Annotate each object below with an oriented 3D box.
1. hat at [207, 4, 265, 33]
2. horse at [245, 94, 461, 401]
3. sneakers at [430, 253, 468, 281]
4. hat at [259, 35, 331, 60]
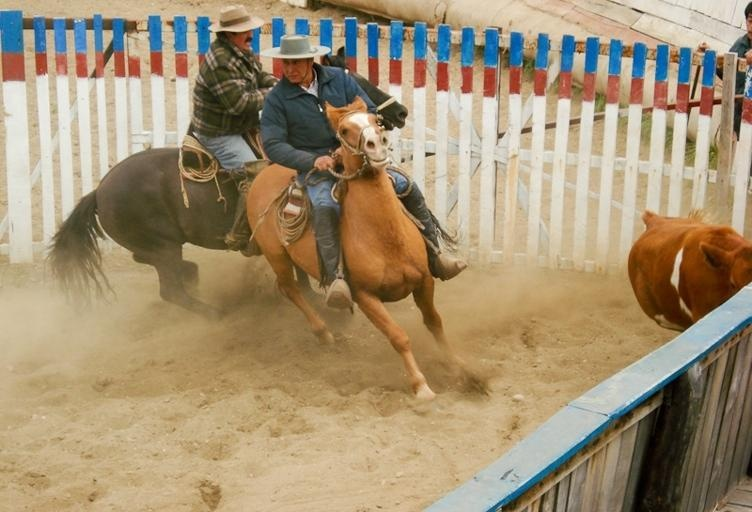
[{"bbox_3d":[-1.415,-2.367,10.949,0.365,0.147,0.350,1,28,24],"label":"hat"},{"bbox_3d":[-0.148,-0.236,10.226,2.205,2.523,0.831,18,23,39],"label":"horse"},{"bbox_3d":[0.688,0.096,10.246,0.217,0.163,0.293,-39,29,-30],"label":"sneakers"},{"bbox_3d":[-0.668,-1.950,10.215,0.388,0.112,0.377,17,25,38],"label":"hat"}]
